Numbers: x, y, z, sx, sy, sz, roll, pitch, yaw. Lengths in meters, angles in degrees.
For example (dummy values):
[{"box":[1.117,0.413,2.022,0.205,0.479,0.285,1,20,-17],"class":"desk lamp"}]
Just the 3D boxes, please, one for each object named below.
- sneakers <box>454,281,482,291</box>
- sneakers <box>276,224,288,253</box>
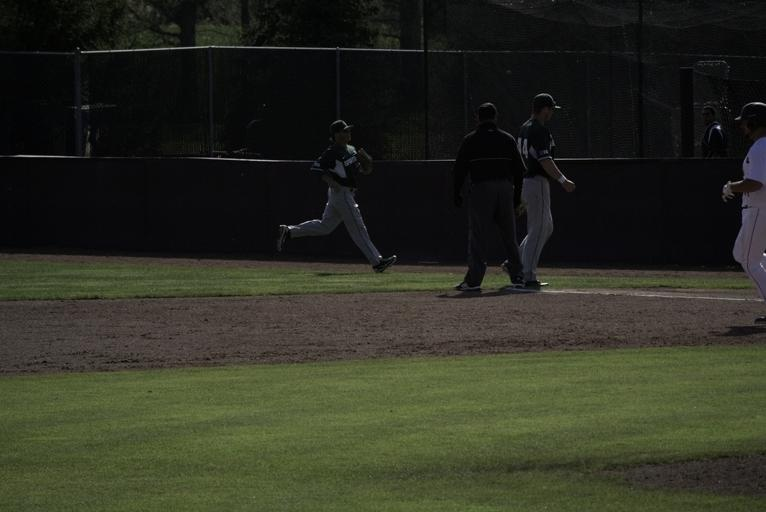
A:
[{"box":[1.086,0.376,14.313,0.318,0.134,0.118,2,1,13],"class":"sneakers"},{"box":[-1.678,-0.316,18.525,0.148,0.476,0.208,11,12,4],"class":"sneakers"}]
